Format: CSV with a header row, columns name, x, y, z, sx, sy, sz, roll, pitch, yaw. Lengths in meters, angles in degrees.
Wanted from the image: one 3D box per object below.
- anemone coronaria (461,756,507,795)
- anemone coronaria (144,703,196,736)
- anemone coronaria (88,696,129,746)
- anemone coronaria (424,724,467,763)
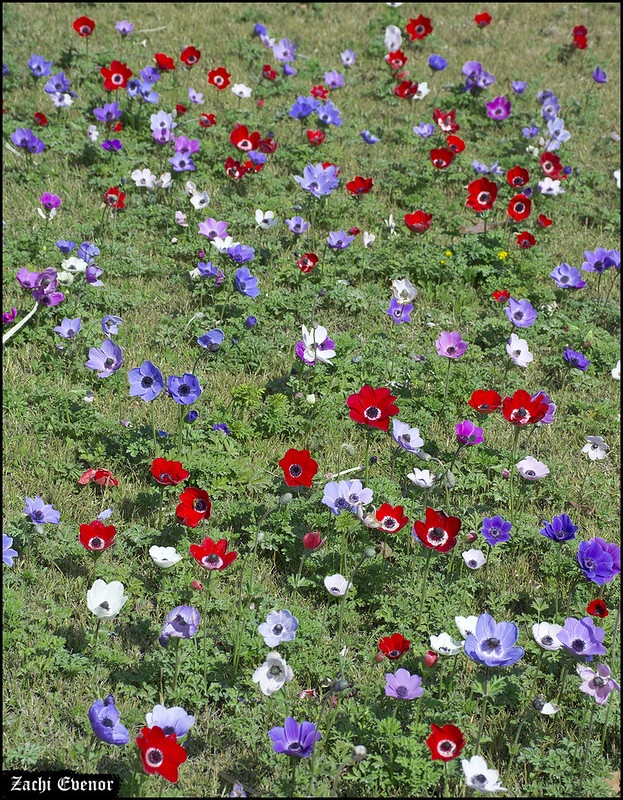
name,x,y,z,sx,sy,sz,roll,pitch,yaw
anemone coronaria,0.722,1.617,5.983,0.172,0.081,0.184,24,26,-8
anemone coronaria,-0.621,1.396,6.083,0.150,0.072,0.151,23,19,3
anemone coronaria,-0.888,1.388,6.085,0.167,0.208,0.289,2,10,-9
anemone coronaria,0.566,1.479,6.026,0.133,0.162,0.117,2,10,-13
